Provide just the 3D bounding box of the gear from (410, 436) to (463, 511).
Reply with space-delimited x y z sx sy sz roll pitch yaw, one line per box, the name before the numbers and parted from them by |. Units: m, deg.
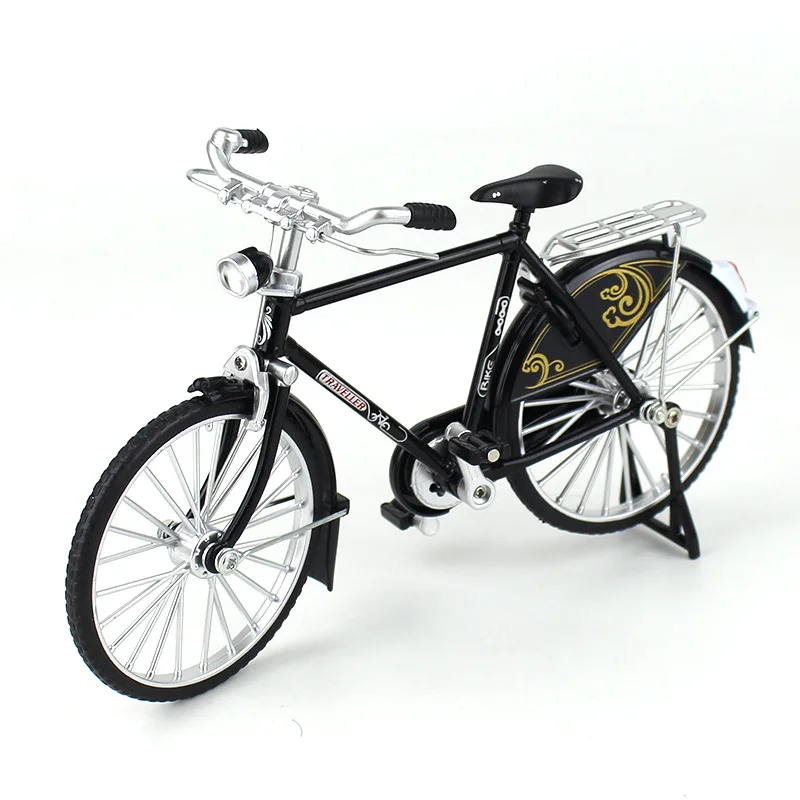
gear | 0.068 0.204 2.342 0.065 0.202 0.174 12 -69 41
